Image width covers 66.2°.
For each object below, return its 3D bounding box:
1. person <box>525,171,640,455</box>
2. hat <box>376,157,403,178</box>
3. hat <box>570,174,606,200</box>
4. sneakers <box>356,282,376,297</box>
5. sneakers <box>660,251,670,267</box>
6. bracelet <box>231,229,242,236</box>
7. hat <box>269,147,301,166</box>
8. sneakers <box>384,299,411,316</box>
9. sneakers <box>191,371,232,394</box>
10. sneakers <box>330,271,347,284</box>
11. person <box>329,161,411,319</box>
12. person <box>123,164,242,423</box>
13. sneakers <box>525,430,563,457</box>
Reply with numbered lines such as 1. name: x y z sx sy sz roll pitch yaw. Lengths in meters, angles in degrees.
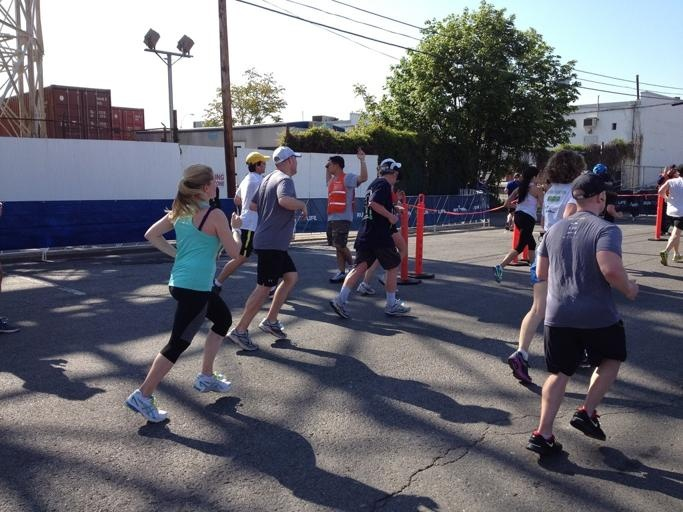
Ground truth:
1. person: 1.877 0.472 4.082 0.675 2.190 0.677 4 9 25
2. hat: 0.768 -1.293 8.051 0.323 0.315 0.501 14 24 42
3. hat: 1.953 -0.594 4.162 0.252 0.162 0.174 -35 29 -29
4. sneakers: 0.465 0.585 9.238 0.408 0.207 0.145 0 5 -45
5. sneakers: 7.281 0.089 11.874 0.125 0.320 0.103 -32 27 -11
6. bracelet: -1.322 -0.298 6.636 0.133 0.101 0.127 -2 12 -35
7. hat: -0.665 -1.273 6.632 0.416 0.235 0.275 -23 25 -33
8. sneakers: 0.832 0.770 7.680 0.426 0.246 0.179 0 1 -6
9. sneakers: -1.234 1.232 5.089 0.394 0.215 0.169 1 8 -13
10. sneakers: -0.009 0.429 10.310 0.408 0.200 0.146 -4 7 -12
11. person: 0.478 -0.261 7.738 1.086 2.284 1.235 1 9 7
12. person: -1.353 0.311 4.669 0.896 2.206 0.585 -2 9 -13
13. sneakers: 1.568 1.480 4.155 0.342 0.184 0.128 20 -6 -22
